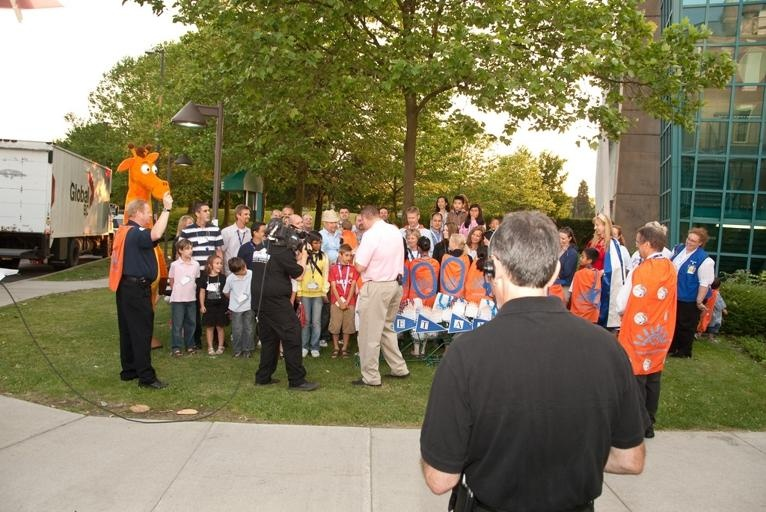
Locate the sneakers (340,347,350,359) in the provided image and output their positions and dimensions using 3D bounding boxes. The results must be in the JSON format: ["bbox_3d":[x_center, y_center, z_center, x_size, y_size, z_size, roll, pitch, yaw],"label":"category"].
[{"bbox_3d":[-0.724,1.831,12.525,0.154,0.179,0.437,0,-8,-3],"label":"sneakers"}]

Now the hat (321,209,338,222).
[{"bbox_3d":[-1.017,-0.789,12.971,0.291,0.260,0.419,0,13,-11],"label":"hat"}]

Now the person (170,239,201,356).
[{"bbox_3d":[-3.678,0.751,12.145,0.537,2.032,0.822,2,14,-1],"label":"person"}]

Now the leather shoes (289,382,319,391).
[{"bbox_3d":[-1.278,2.076,10.646,0.410,0.178,0.168,-3,3,-3],"label":"leather shoes"}]

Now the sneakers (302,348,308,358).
[{"bbox_3d":[-1.459,1.783,12.422,0.140,0.179,0.151,-1,46,2],"label":"sneakers"}]

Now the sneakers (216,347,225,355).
[{"bbox_3d":[-3.041,1.759,12.355,0.130,0.117,0.339,-1,-3,-3],"label":"sneakers"}]

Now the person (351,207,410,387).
[{"bbox_3d":[-0.067,0.665,10.940,0.968,2.903,0.729,-10,18,-41],"label":"person"}]

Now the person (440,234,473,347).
[{"bbox_3d":[1.370,0.527,12.843,0.545,2.276,0.491,5,34,6],"label":"person"}]

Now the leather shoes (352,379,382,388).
[{"bbox_3d":[-0.285,2.046,10.949,0.503,0.210,0.176,-4,-3,25],"label":"leather shoes"}]

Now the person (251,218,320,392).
[{"bbox_3d":[-1.624,0.758,10.699,1.083,2.683,0.818,3,14,3],"label":"person"}]

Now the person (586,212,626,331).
[{"bbox_3d":[4.125,0.349,12.423,0.733,2.186,0.977,-4,14,-6],"label":"person"}]

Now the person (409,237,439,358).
[{"bbox_3d":[0.970,0.836,12.862,0.655,2.634,0.604,-22,35,-30],"label":"person"}]

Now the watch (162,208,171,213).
[{"bbox_3d":[-3.462,-0.736,10.586,0.092,0.070,0.106,13,-5,39],"label":"watch"}]

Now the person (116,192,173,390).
[{"bbox_3d":[-3.871,0.591,10.597,0.859,2.910,1.241,-3,14,-19],"label":"person"}]

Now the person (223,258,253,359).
[{"bbox_3d":[-2.584,0.929,12.102,0.462,1.779,0.637,-8,17,-35],"label":"person"}]

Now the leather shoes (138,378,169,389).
[{"bbox_3d":[-3.637,1.986,10.454,0.401,0.167,0.154,1,-2,-12],"label":"leather shoes"}]
